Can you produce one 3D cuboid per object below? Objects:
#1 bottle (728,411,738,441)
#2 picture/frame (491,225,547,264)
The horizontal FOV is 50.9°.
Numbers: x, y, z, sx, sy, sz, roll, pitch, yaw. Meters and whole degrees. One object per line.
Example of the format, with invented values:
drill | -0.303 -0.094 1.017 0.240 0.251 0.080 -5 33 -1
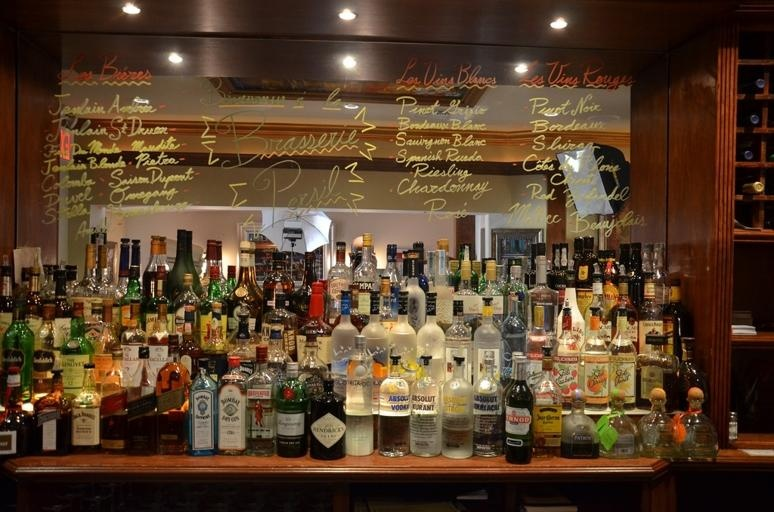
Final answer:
bottle | 1.798 0.885 4.210 0.030 0.148 0.129 -6 -10 36
picture/frame | 0.761 -0.068 4.617 0.236 0.226 0.016 0 -1 0
